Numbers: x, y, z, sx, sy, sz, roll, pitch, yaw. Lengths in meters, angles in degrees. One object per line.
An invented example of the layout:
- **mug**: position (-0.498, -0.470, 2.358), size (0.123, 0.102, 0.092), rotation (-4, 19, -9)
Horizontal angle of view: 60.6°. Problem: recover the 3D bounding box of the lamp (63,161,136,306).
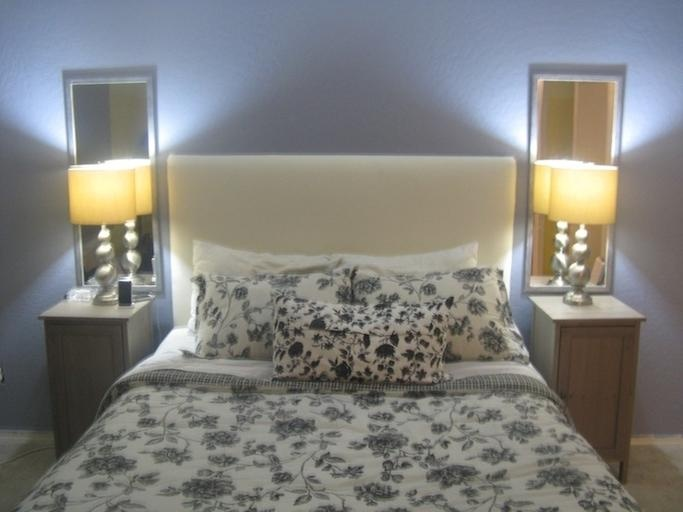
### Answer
- **lamp**: position (-1.413, -0.123, 3.486), size (0.407, 0.758, 0.388), rotation (-2, 1, -16)
